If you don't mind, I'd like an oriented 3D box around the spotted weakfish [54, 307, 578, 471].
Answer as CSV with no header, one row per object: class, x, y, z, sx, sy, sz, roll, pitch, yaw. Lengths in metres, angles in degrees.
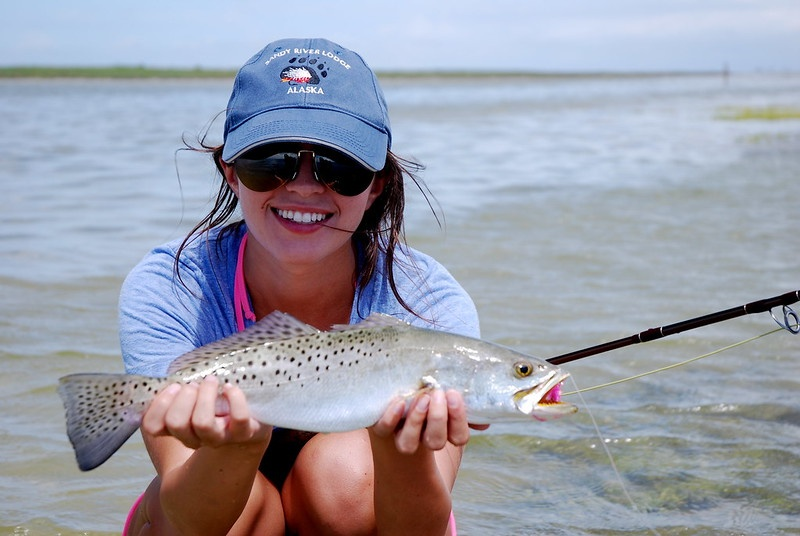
spotted weakfish,-0.500,0.779,7.393,3.354,0.832,0.764,-2,2,-12
